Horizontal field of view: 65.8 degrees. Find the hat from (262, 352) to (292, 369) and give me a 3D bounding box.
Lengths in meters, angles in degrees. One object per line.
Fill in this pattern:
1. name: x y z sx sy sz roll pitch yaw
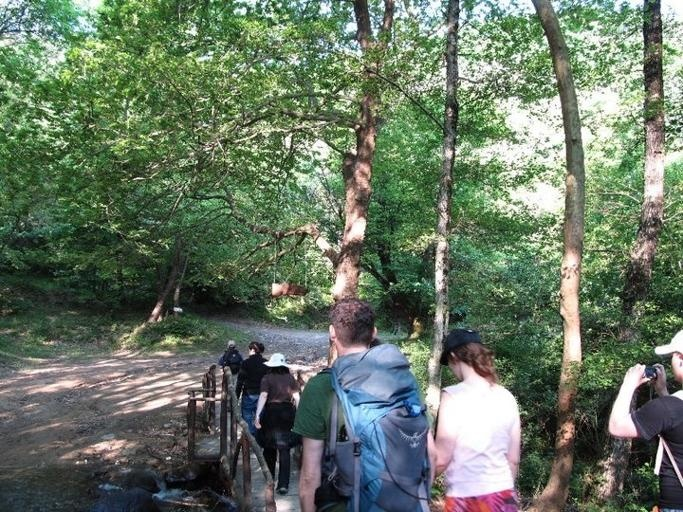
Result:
1. hat: -1.059 1.836 9.145 0.411 0.200 0.485 2 -2 14
